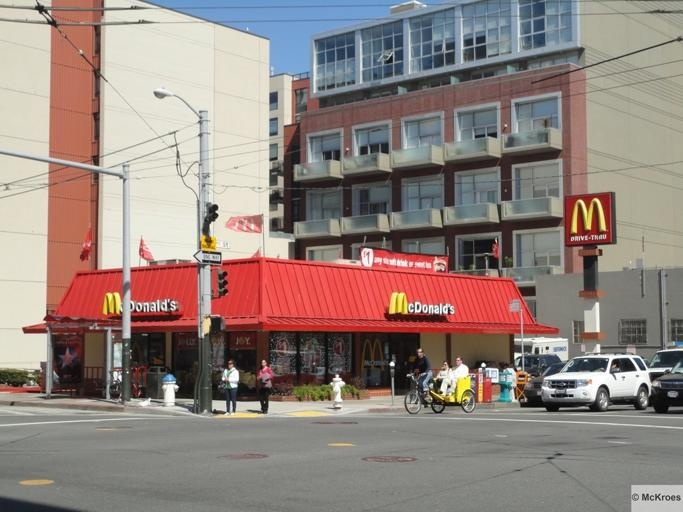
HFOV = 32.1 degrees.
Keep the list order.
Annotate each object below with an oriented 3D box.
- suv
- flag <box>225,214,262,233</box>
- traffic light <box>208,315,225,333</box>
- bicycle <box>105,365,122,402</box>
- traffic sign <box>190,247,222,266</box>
[{"bbox_3d":[11.320,5.469,50.560,5.511,1.953,2.817,8,-13,-42],"label":"suv"},{"bbox_3d":[-5.221,-1.647,62.645,1.926,1.400,0.614,2,-4,-21],"label":"flag"},{"bbox_3d":[-5.117,2.799,48.105,0.687,0.659,0.374,5,4,44],"label":"traffic light"},{"bbox_3d":[-10.243,5.793,53.398,0.521,1.499,1.791,0,-8,-12],"label":"bicycle"},{"bbox_3d":[-5.773,0.061,50.738,0.050,0.669,1.358,-6,-8,41],"label":"traffic sign"}]
